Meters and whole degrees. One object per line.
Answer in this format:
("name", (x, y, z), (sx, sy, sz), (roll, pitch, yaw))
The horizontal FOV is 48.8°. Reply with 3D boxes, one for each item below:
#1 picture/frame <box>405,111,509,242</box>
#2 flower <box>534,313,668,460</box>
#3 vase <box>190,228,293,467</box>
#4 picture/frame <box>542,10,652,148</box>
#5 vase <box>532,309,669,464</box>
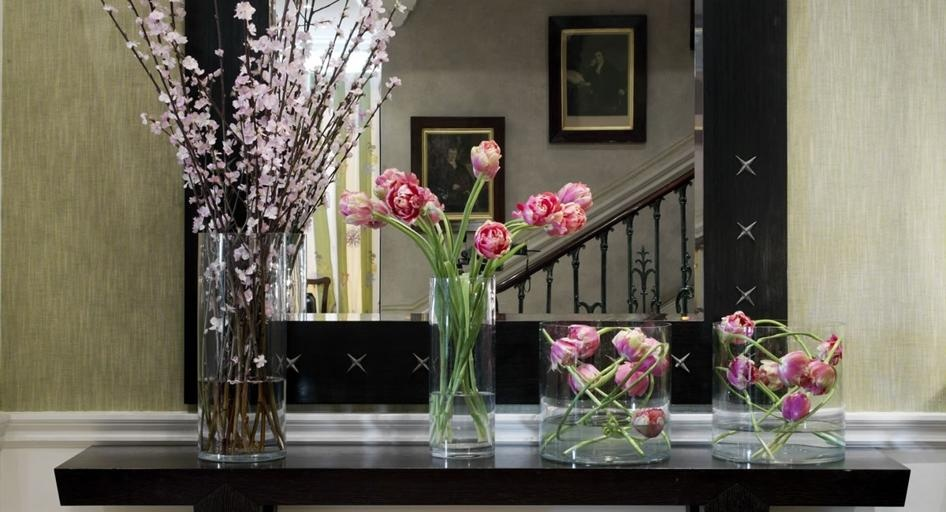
("picture/frame", (-0.054, -0.216, 2.914), (0.397, 0.442, 0.035), (0, -2, -3))
("flower", (0.351, 0.347, 2.760), (0.370, 0.381, 0.349), (0, -7, 1))
("vase", (-0.607, 0.243, 2.779), (0.252, 0.521, 0.086), (-2, -1, -14))
("picture/frame", (0.367, -0.502, 2.987), (0.414, 0.501, 0.034), (0, 2, 4))
("vase", (0.297, 0.353, 2.780), (0.380, 0.391, 0.354), (0, -7, 0))
